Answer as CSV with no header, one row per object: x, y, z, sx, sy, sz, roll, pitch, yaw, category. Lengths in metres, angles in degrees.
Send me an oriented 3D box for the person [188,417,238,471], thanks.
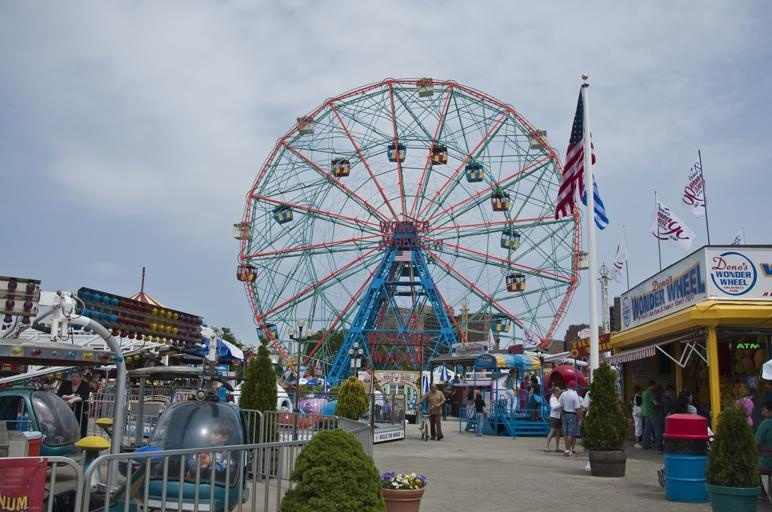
-3.320,3.605,16.063,0.859,1.149,1.401,-2,-16,2,person

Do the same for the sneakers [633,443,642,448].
8.097,6.139,27.507,0.241,0.171,0.090,1,-2,-6,sneakers

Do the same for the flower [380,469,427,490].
0.313,4.554,17.173,0.869,0.318,0.614,-1,-16,-2,flower

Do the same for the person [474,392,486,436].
3.864,6.631,35.366,0.428,1.611,1.050,-3,-15,6,person

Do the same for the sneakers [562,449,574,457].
5.534,6.037,26.042,0.344,0.165,0.151,4,-1,-27,sneakers
